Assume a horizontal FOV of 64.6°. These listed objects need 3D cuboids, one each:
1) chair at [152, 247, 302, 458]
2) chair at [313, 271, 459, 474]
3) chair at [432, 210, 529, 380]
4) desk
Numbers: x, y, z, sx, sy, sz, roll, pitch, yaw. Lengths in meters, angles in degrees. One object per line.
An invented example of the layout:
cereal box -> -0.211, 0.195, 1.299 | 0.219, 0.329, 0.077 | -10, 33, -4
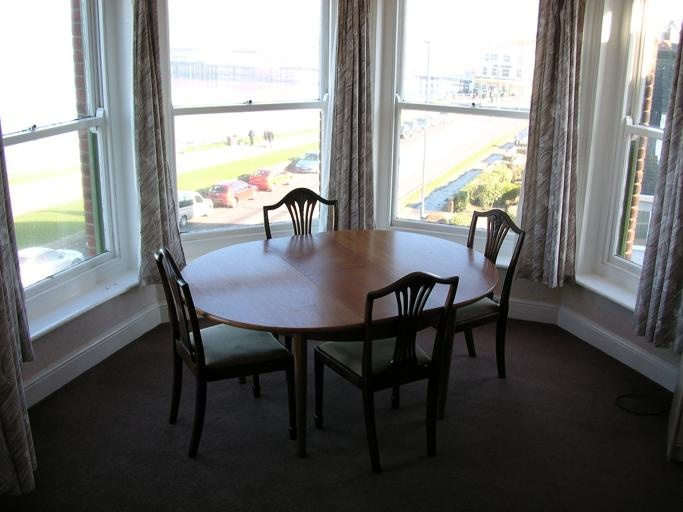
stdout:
chair -> -0.668, 0.480, 3.114 | 0.635, 1.120, 0.607 | -6, 15, -29
chair -> 0.241, 0.551, 3.048 | 0.602, 1.121, 0.672 | -7, 15, -29
chair -> 0.842, 0.271, 3.724 | 0.617, 1.133, 0.577 | -6, 18, -14
desk -> -0.160, 0.803, 3.545 | 1.604, 0.833, 1.280 | -14, 30, -26
